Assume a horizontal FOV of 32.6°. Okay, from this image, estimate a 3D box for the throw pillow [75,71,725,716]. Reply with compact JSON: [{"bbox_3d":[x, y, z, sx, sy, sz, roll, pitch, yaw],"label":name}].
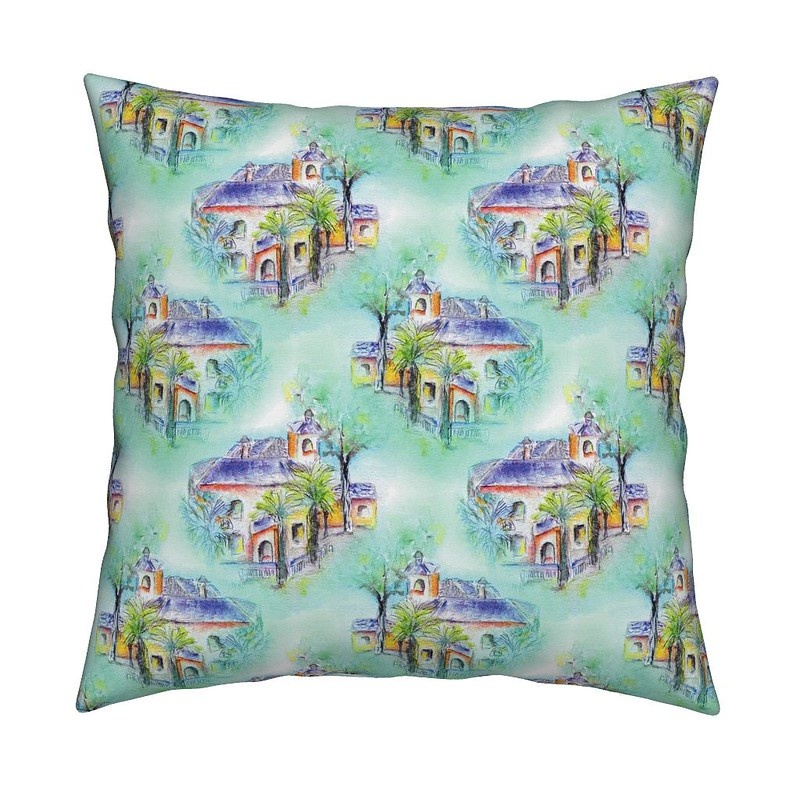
[{"bbox_3d":[0.000,0.028,2.981,1.417,0.388,1.364,0,-86,1],"label":"throw pillow"}]
